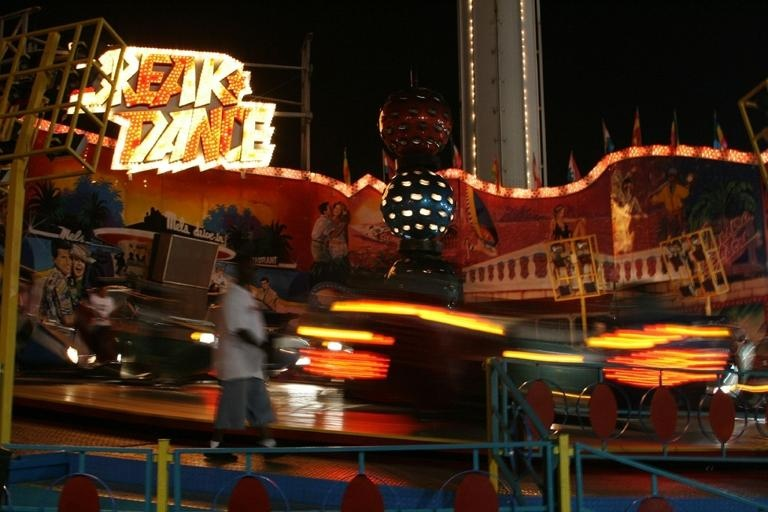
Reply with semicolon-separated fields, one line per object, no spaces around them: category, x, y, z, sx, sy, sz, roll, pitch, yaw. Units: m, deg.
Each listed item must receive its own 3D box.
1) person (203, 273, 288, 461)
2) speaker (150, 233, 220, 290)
person;-1.733;1.302;11.038;0.755;2.150;0.407;5;-13;-13
speaker;-4.658;0.125;20.646;0.467;1.115;1.383;9;-4;39
